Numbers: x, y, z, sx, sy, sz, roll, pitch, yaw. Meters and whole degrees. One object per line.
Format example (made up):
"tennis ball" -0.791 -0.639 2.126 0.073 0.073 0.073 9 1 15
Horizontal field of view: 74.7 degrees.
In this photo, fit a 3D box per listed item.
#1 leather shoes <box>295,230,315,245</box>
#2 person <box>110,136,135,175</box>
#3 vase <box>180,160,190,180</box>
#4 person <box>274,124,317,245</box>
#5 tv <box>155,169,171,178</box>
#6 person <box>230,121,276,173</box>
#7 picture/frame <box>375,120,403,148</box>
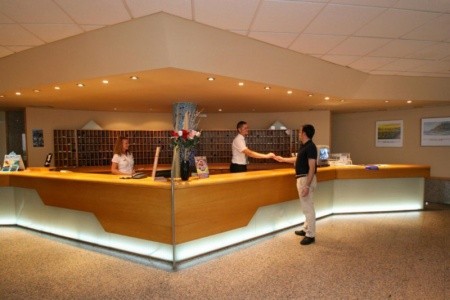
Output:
"leather shoes" 1.565 1.733 5.782 0.422 0.167 0.140 6 1 13
"person" -2.286 0.127 6.592 0.469 0.829 0.792 -1 3 -19
"vase" -0.698 0.364 5.338 0.227 0.368 0.189 -2 3 -30
"person" 1.584 0.655 5.799 0.384 2.316 0.418 0 2 9
"tv" -1.119 0.432 5.333 0.271 0.133 0.117 0 2 1
"person" 0.427 -0.066 6.476 0.465 1.108 0.815 -2 3 -34
"picture/frame" 6.056 -0.603 10.793 1.077 1.130 0.062 -1 -4 40
